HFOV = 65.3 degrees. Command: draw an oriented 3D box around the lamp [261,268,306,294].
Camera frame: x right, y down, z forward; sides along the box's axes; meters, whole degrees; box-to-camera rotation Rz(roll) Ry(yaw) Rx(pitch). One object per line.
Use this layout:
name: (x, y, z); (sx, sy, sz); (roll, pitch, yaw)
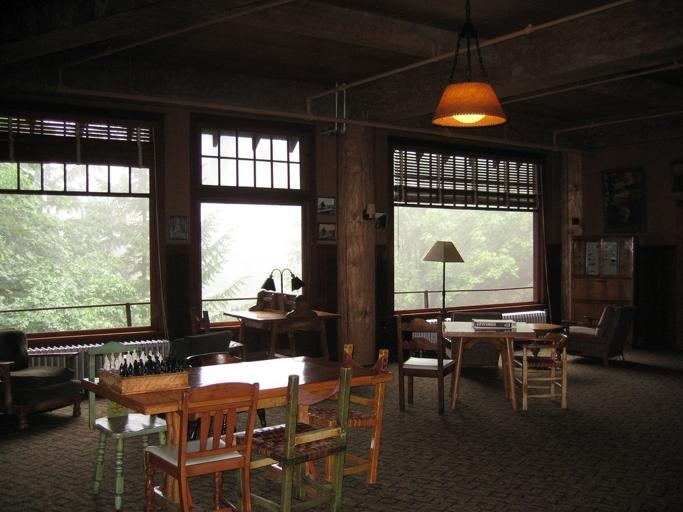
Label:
lamp: (-0.777, 0.337, 7.877); (0.819, 0.466, 0.285); (-2, 0, 6)

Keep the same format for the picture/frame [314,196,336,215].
picture/frame: (-0.294, -0.829, 8.446); (0.323, 0.227, 0.042); (1, -2, -32)

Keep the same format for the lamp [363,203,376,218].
lamp: (0.446, -0.729, 8.395); (0.143, 0.254, 0.183); (3, 4, 43)

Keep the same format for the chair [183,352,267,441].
chair: (-1.199, 1.367, 5.416); (0.802, 0.715, 0.781); (-2, 3, -27)

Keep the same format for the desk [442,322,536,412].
desk: (1.767, 1.347, 6.699); (1.041, 0.938, 1.112); (0, -3, 3)

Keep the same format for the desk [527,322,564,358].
desk: (3.260, 1.187, 8.505); (0.724, 0.495, 0.724); (0, 2, 24)

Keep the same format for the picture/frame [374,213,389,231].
picture/frame: (0.638, -0.595, 8.883); (0.347, 0.307, 0.048); (-3, 3, -45)

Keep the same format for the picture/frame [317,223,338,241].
picture/frame: (-0.257, -0.406, 8.429); (0.308, 0.250, 0.043); (0, -2, -30)
